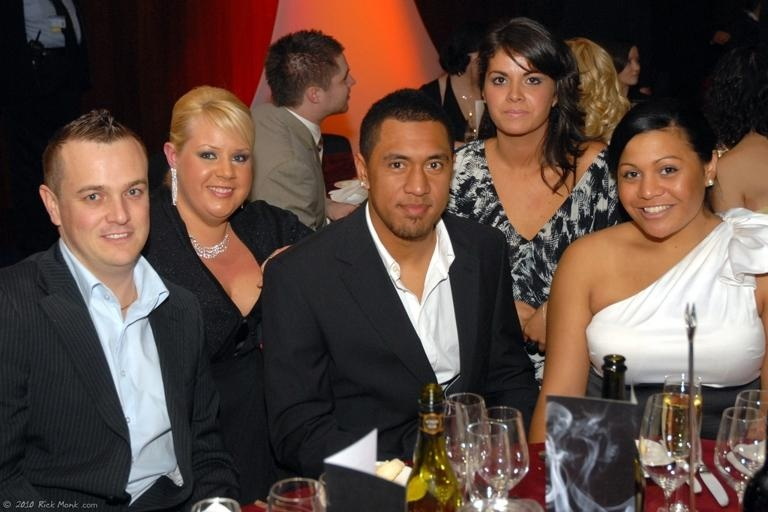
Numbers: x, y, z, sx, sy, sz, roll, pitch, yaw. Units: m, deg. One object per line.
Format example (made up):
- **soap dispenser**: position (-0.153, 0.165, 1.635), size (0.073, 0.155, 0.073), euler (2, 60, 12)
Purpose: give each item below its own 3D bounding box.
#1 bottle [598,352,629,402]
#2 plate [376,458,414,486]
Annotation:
- **bottle**: position (0.706, 0.374, 1.910), size (0.068, 0.134, 0.381), euler (-3, -2, 20)
- **plate**: position (0.036, 0.651, 1.888), size (0.098, 0.031, 0.099), euler (4, 22, -19)
